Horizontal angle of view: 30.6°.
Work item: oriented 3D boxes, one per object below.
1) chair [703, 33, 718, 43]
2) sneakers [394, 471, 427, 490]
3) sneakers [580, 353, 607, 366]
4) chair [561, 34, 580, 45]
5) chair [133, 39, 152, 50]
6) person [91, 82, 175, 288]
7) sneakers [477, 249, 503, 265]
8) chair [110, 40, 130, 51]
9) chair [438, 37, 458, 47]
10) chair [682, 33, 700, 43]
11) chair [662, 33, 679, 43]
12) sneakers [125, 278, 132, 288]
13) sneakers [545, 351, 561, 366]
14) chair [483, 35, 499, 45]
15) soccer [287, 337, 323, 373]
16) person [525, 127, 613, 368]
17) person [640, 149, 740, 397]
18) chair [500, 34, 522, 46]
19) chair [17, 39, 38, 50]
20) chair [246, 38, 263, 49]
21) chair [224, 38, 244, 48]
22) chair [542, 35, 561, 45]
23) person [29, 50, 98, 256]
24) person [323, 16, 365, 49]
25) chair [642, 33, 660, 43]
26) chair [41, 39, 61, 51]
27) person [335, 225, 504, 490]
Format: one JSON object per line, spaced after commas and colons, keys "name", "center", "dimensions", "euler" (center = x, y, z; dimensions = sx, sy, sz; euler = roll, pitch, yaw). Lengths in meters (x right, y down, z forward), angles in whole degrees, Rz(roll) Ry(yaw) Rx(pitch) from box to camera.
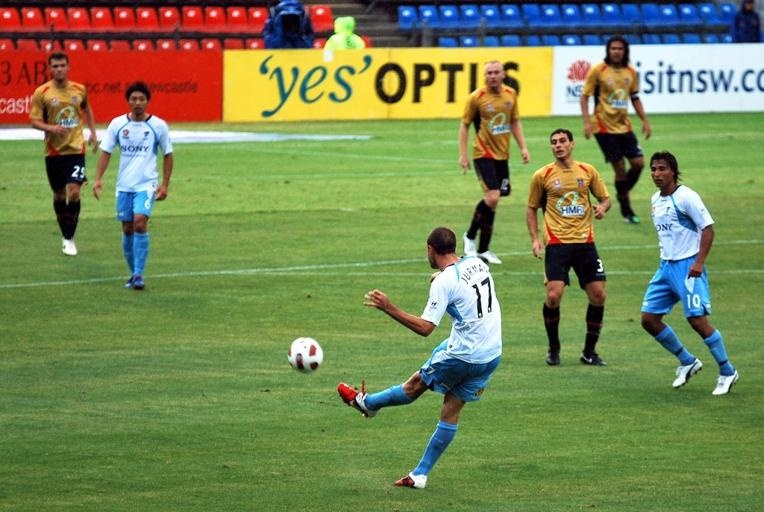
{"name": "chair", "center": [10.629, -7.154, 45.705], "dimensions": [0.455, 0.269, 1.929], "euler": [0, 9, 12]}
{"name": "sneakers", "center": [0.367, 2.790, 17.182], "dimensions": [0.433, 0.163, 0.152], "euler": [3, 5, 15]}
{"name": "sneakers", "center": [2.993, 1.496, 20.051], "dimensions": [0.371, 0.140, 0.147], "euler": [3, 14, 11]}
{"name": "chair", "center": [6.265, -7.274, 46.788], "dimensions": [0.484, 0.273, 0.458], "euler": [0, 6, -20]}
{"name": "chair", "center": [-7.086, -6.397, 41.929], "dimensions": [0.611, 0.267, 0.397], "euler": [-3, 9, -10]}
{"name": "person", "center": [-3.901, -1.143, 22.572], "dimensions": [1.154, 3.323, 0.782], "euler": [2, 11, 21]}
{"name": "sneakers", "center": [1.859, 0.038, 24.389], "dimensions": [0.424, 0.162, 0.199], "euler": [6, 8, 12]}
{"name": "chair", "center": [-7.709, -6.356, 41.766], "dimensions": [0.593, 0.259, 0.460], "euler": [-3, 9, -11]}
{"name": "chair", "center": [2.025, -6.832, 44.402], "dimensions": [0.574, 0.439, 0.296], "euler": [1, 5, -1]}
{"name": "chair", "center": [10.077, -7.261, 46.322], "dimensions": [0.406, 0.169, 0.545], "euler": [3, 6, 11]}
{"name": "chair", "center": [9.382, -7.176, 45.935], "dimensions": [0.400, 0.216, 0.376], "euler": [0, 1, -3]}
{"name": "sneakers", "center": [-4.063, 0.449, 22.683], "dimensions": [0.088, 0.138, 0.144], "euler": [20, -12, -8]}
{"name": "sneakers", "center": [2.428, 1.477, 20.130], "dimensions": [0.194, 0.183, 0.257], "euler": [-1, 9, 5]}
{"name": "chair", "center": [3.574, -7.089, 45.694], "dimensions": [0.455, 0.349, 0.492], "euler": [-1, 9, 5]}
{"name": "soccer", "center": [-0.974, 1.319, 18.479], "dimensions": [0.481, 0.427, 0.453], "euler": [2, -5, 1]}
{"name": "person", "center": [2.622, -0.126, 20.156], "dimensions": [1.037, 3.359, 0.886], "euler": [-1, 10, 5]}
{"name": "person", "center": [4.127, 0.228, 19.355], "dimensions": [0.804, 3.317, 1.300], "euler": [-9, 12, -36]}
{"name": "chair", "center": [4.163, -7.095, 45.661], "dimensions": [0.628, 0.369, 0.689], "euler": [-1, 9, 5]}
{"name": "chair", "center": [-10.313, -6.273, 41.160], "dimensions": [0.618, 0.275, 0.649], "euler": [-3, 9, -7]}
{"name": "chair", "center": [-3.848, -6.543, 42.883], "dimensions": [0.499, 0.296, 0.469], "euler": [0, 3, -4]}
{"name": "chair", "center": [-4.499, -6.533, 42.777], "dimensions": [0.469, 0.264, 0.460], "euler": [5, 8, 26]}
{"name": "chair", "center": [5.570, -7.232, 46.519], "dimensions": [0.486, 0.328, 0.789], "euler": [2, 10, 24]}
{"name": "person", "center": [-5.389, -1.763, 24.162], "dimensions": [1.039, 3.523, 1.452], "euler": [-4, 10, -12]}
{"name": "person", "center": [-1.107, -6.515, 40.613], "dimensions": [1.264, 0.459, 1.619], "euler": [-8, -14, -2]}
{"name": "chair", "center": [8.729, -7.180, 45.916], "dimensions": [0.486, 0.266, 0.461], "euler": [0, 2, 0]}
{"name": "chair", "center": [-9.413, -6.125, 40.247], "dimensions": [0.612, 0.299, 1.896], "euler": [-4, 9, -13]}
{"name": "person", "center": [0.647, 1.261, 17.284], "dimensions": [1.621, 3.165, 0.778], "euler": [-2, 10, 0]}
